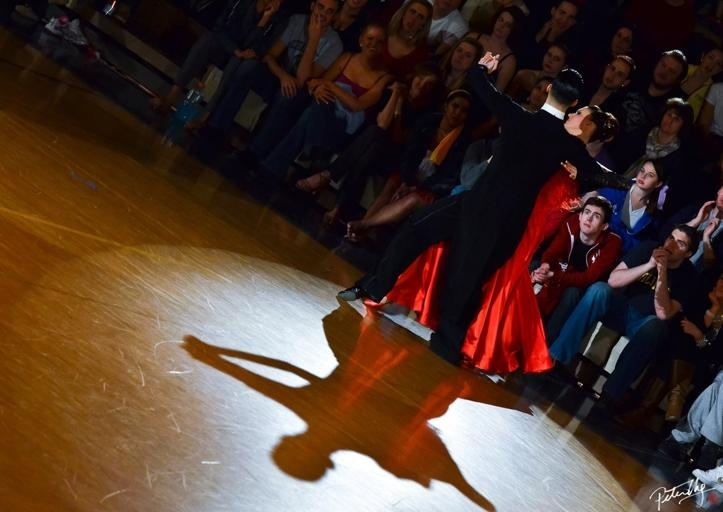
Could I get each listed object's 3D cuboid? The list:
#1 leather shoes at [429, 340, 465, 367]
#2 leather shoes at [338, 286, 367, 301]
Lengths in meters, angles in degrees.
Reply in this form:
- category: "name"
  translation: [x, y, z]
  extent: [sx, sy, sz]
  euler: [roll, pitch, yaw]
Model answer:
- category: "leather shoes"
  translation: [0.476, 0.567, 3.259]
  extent: [0.140, 0.061, 0.147]
  euler: [27, 1, 29]
- category: "leather shoes"
  translation: [-0.046, 0.214, 3.286]
  extent: [0.163, 0.085, 0.069]
  euler: [1, 15, 5]
